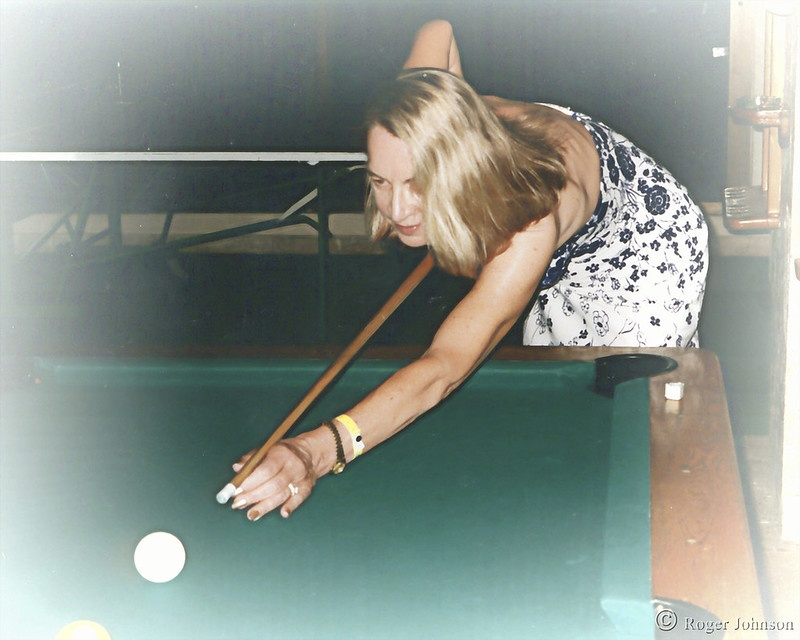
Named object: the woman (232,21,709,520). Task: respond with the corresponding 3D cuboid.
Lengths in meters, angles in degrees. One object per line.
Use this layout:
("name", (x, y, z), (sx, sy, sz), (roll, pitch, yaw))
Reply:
("woman", (0.129, -0.116, 2.399), (1.409, 1.044, 0.905), (-28, 45, -22))

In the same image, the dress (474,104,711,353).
("dress", (0.542, -0.248, 2.374), (0.401, 0.778, 0.580), (-15, 35, -2))

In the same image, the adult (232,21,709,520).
("adult", (0.114, -0.121, 2.412), (1.409, 1.044, 0.905), (-28, 45, -22))
